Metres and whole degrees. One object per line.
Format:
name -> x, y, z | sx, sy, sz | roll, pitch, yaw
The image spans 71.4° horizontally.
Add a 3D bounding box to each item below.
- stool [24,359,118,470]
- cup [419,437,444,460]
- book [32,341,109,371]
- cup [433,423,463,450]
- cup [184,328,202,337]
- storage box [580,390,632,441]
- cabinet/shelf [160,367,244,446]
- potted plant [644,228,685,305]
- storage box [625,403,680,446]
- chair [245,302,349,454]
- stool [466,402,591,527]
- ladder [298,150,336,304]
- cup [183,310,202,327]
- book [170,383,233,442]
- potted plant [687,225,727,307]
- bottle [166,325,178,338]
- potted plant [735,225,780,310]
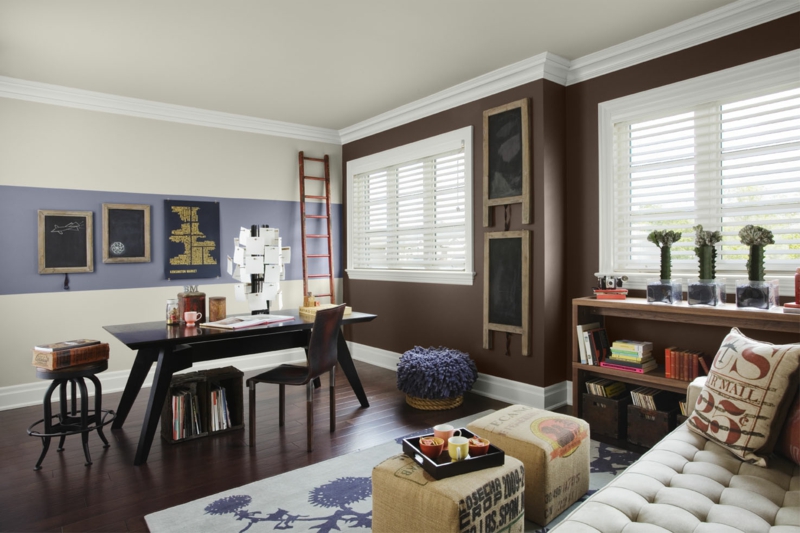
stool -> -2.792, 1.243, 4.777 | 0.683, 0.712, 0.673 | -1, 1, -45
cup -> 0.201, 1.183, 3.629 | 0.114, 0.076, 0.114 | -1, -1, 0
book -> -2.735, 0.732, 4.649 | 0.513, 0.204, 0.241 | -9, 16, -34
cup -> 0.324, 1.142, 3.784 | 0.190, 0.126, 0.120 | 5, -8, -40
cup -> -1.792, 0.558, 4.816 | 0.135, 0.087, 0.090 | 2, 0, 36
storage box -> 1.808, 1.336, 4.978 | 0.392, 0.352, 0.388 | 1, 3, 42
cabinet/shelf -> -1.790, 1.272, 4.998 | 0.777, 0.602, 0.297 | 0, 0, -37
potted plant -> 2.326, -0.012, 4.902 | 0.305, 0.599, 0.472 | 5, 15, 22
storage box -> 2.169, 1.357, 4.798 | 0.312, 0.338, 0.557 | 2, 1, 43
chair -> -0.939, 0.986, 5.134 | 0.815, 1.168, 0.756 | -2, 0, 8
stool -> 0.946, 1.394, 4.282 | 0.763, 0.638, 0.771 | 1, 4, 43
ladder -> -1.116, -0.516, 7.494 | 0.454, 2.018, 0.720 | -2, 14, -7
cup -> -1.891, 0.480, 5.095 | 0.162, 0.114, 0.122 | 4, -6, -40
book -> -1.808, 1.316, 4.998 | 0.579, 0.501, 0.187 | 3, -2, -39
potted plant -> 2.565, -0.007, 4.661 | 0.245, 0.636, 0.332 | 6, 15, 26
bottle -> -1.960, 0.565, 4.809 | 0.112, 0.120, 0.110 | 4, -4, -43
potted plant -> 2.853, 0.007, 4.435 | 0.287, 0.638, 0.246 | 3, 14, 15
